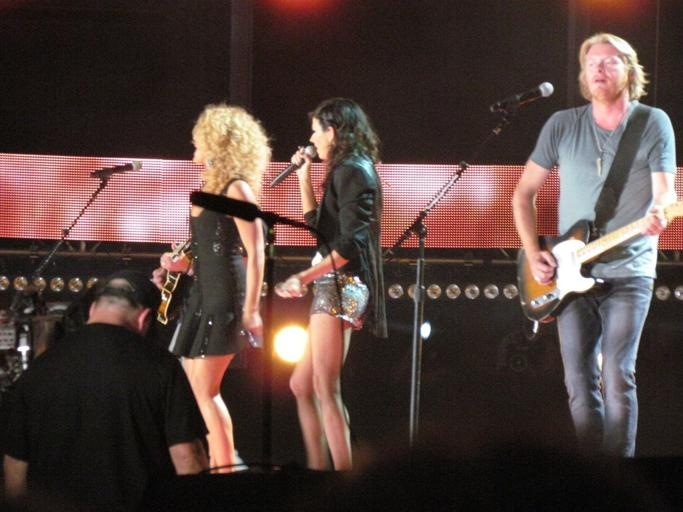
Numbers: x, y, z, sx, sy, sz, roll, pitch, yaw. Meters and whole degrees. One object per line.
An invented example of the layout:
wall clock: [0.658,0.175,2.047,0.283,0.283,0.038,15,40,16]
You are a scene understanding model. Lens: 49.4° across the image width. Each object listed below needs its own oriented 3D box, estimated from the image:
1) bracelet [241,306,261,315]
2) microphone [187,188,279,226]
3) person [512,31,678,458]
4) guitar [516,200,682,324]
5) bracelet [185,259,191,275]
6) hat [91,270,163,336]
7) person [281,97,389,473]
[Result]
bracelet: [-0.443,0.269,3.623,0.074,0.041,0.121,5,-9,-17]
microphone: [-0.497,-0.211,3.266,0.299,0.068,0.067,16,2,-21]
person: [1.296,-0.090,3.734,0.793,2.091,0.395,-7,-13,44]
guitar: [1.312,0.044,3.781,0.099,0.276,0.691,13,-27,-32]
bracelet: [-0.841,0.069,4.094,0.033,0.042,0.106,1,-42,1]
hat: [-0.815,0.186,2.891,0.192,0.192,0.255,20,-12,4]
person: [-0.059,0.081,3.592,0.501,1.852,0.783,0,-10,12]
